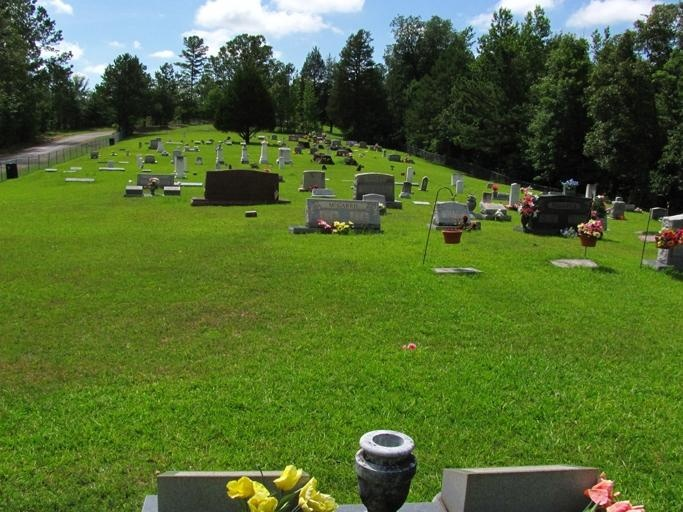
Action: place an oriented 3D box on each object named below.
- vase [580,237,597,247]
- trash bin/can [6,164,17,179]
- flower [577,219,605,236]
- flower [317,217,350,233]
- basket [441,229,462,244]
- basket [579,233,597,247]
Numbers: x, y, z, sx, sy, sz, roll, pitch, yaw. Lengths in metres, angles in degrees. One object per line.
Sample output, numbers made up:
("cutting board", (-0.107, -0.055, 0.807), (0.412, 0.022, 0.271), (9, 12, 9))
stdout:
("vase", (7.596, -0.436, 18.005), (0.362, 0.204, 0.376), (1, 2, -16))
("trash bin/can", (-20.763, -5.353, 36.730), (0.519, 0.918, 1.069), (-2, 13, -17))
("flower", (7.693, -0.821, 17.952), (0.637, 0.487, 0.643), (-8, 13, -40))
("flower", (-0.191, -1.030, 20.355), (1.268, 0.412, 0.807), (0, 13, -10))
("basket", (3.323, -0.571, 17.696), (0.475, 0.321, 0.497), (0, 2, -12))
("basket", (7.594, -0.463, 18.022), (0.411, 0.281, 0.430), (1, 3, -12))
